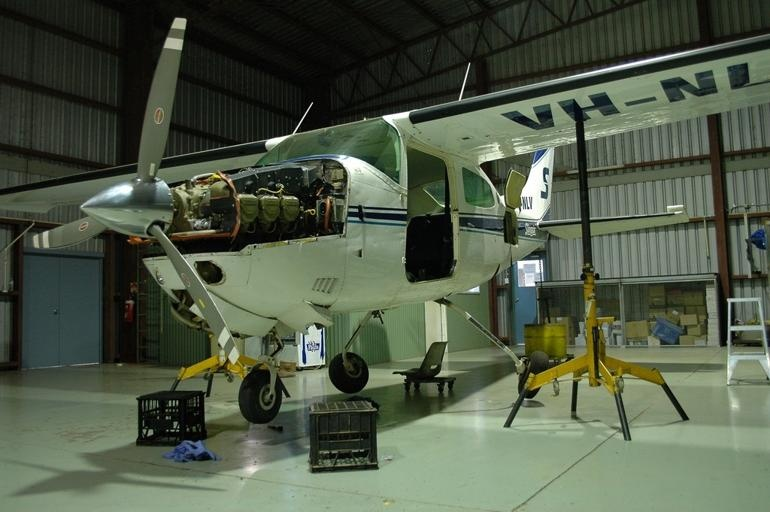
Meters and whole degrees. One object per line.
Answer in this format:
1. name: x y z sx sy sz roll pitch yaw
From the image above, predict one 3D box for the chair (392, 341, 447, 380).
1. chair: 0.628 1.876 12.263 0.883 0.595 0.664 -5 -6 37
